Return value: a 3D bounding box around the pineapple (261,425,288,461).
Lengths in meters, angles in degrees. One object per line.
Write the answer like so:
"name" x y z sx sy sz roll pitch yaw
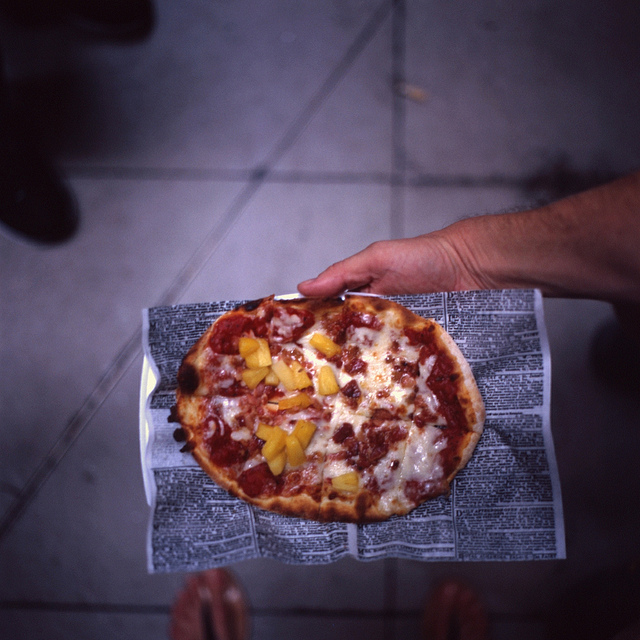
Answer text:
"pineapple" -0.109 0.296 1.696 0.036 0.061 0.070 20 82 17

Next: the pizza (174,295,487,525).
"pizza" 0.032 0.199 1.743 0.726 0.084 0.578 10 100 -2

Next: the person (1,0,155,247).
"person" -0.666 -0.517 2.000 0.256 0.342 0.894 -3 87 0

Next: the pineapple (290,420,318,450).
"pineapple" -0.033 0.275 1.708 0.060 0.043 0.063 26 93 22
